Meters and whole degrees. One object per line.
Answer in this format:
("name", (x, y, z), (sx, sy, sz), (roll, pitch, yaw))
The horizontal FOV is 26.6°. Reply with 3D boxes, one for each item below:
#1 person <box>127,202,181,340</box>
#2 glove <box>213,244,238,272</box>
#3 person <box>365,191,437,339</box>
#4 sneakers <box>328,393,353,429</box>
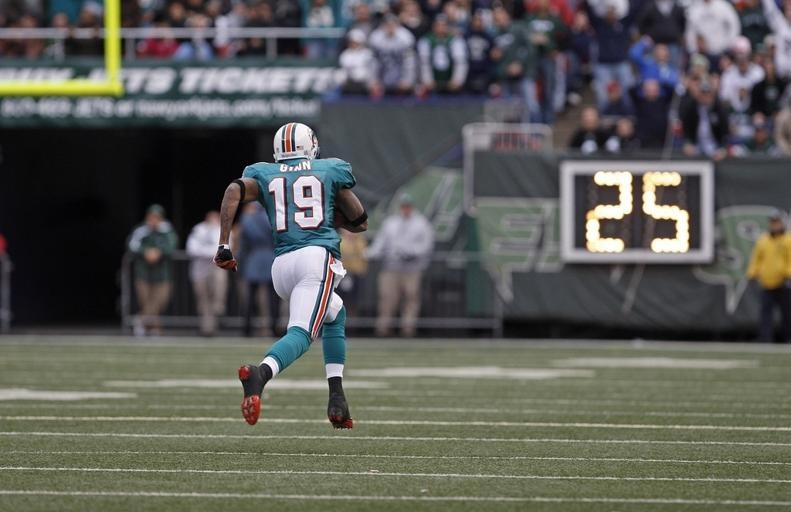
("person", (-3.730, 0.229, 26.111), (0.692, 1.779, 1.229), (-1, 15, -5))
("glove", (-1.918, -0.013, 19.008), (0.209, 0.308, 0.348), (5, 6, 31))
("person", (0.143, 0.128, 25.558), (0.925, 2.097, 0.750), (2, 15, 6))
("sneakers", (-0.601, 1.761, 18.929), (0.261, 0.403, 0.221), (0, 15, -3))
